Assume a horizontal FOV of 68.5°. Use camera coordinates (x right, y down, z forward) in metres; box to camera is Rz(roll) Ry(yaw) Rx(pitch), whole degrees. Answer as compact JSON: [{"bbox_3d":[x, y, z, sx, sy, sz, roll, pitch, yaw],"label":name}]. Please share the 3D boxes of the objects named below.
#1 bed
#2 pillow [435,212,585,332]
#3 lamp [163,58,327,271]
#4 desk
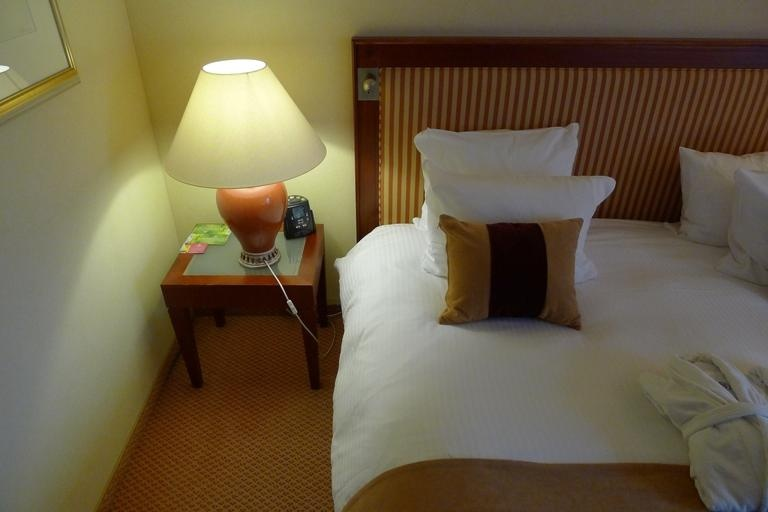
[{"bbox_3d":[0.556,0.304,2.685,1.726,1.211,1.944,1,45,3],"label":"bed"},{"bbox_3d":[0.535,0.068,2.363,0.578,0.491,0.240,1,2,5],"label":"pillow"},{"bbox_3d":[-0.428,-0.485,2.579,0.680,0.900,0.749,0,42,3],"label":"lamp"},{"bbox_3d":[-0.655,0.194,3.015,0.725,0.788,0.820,-5,46,-2],"label":"desk"}]
